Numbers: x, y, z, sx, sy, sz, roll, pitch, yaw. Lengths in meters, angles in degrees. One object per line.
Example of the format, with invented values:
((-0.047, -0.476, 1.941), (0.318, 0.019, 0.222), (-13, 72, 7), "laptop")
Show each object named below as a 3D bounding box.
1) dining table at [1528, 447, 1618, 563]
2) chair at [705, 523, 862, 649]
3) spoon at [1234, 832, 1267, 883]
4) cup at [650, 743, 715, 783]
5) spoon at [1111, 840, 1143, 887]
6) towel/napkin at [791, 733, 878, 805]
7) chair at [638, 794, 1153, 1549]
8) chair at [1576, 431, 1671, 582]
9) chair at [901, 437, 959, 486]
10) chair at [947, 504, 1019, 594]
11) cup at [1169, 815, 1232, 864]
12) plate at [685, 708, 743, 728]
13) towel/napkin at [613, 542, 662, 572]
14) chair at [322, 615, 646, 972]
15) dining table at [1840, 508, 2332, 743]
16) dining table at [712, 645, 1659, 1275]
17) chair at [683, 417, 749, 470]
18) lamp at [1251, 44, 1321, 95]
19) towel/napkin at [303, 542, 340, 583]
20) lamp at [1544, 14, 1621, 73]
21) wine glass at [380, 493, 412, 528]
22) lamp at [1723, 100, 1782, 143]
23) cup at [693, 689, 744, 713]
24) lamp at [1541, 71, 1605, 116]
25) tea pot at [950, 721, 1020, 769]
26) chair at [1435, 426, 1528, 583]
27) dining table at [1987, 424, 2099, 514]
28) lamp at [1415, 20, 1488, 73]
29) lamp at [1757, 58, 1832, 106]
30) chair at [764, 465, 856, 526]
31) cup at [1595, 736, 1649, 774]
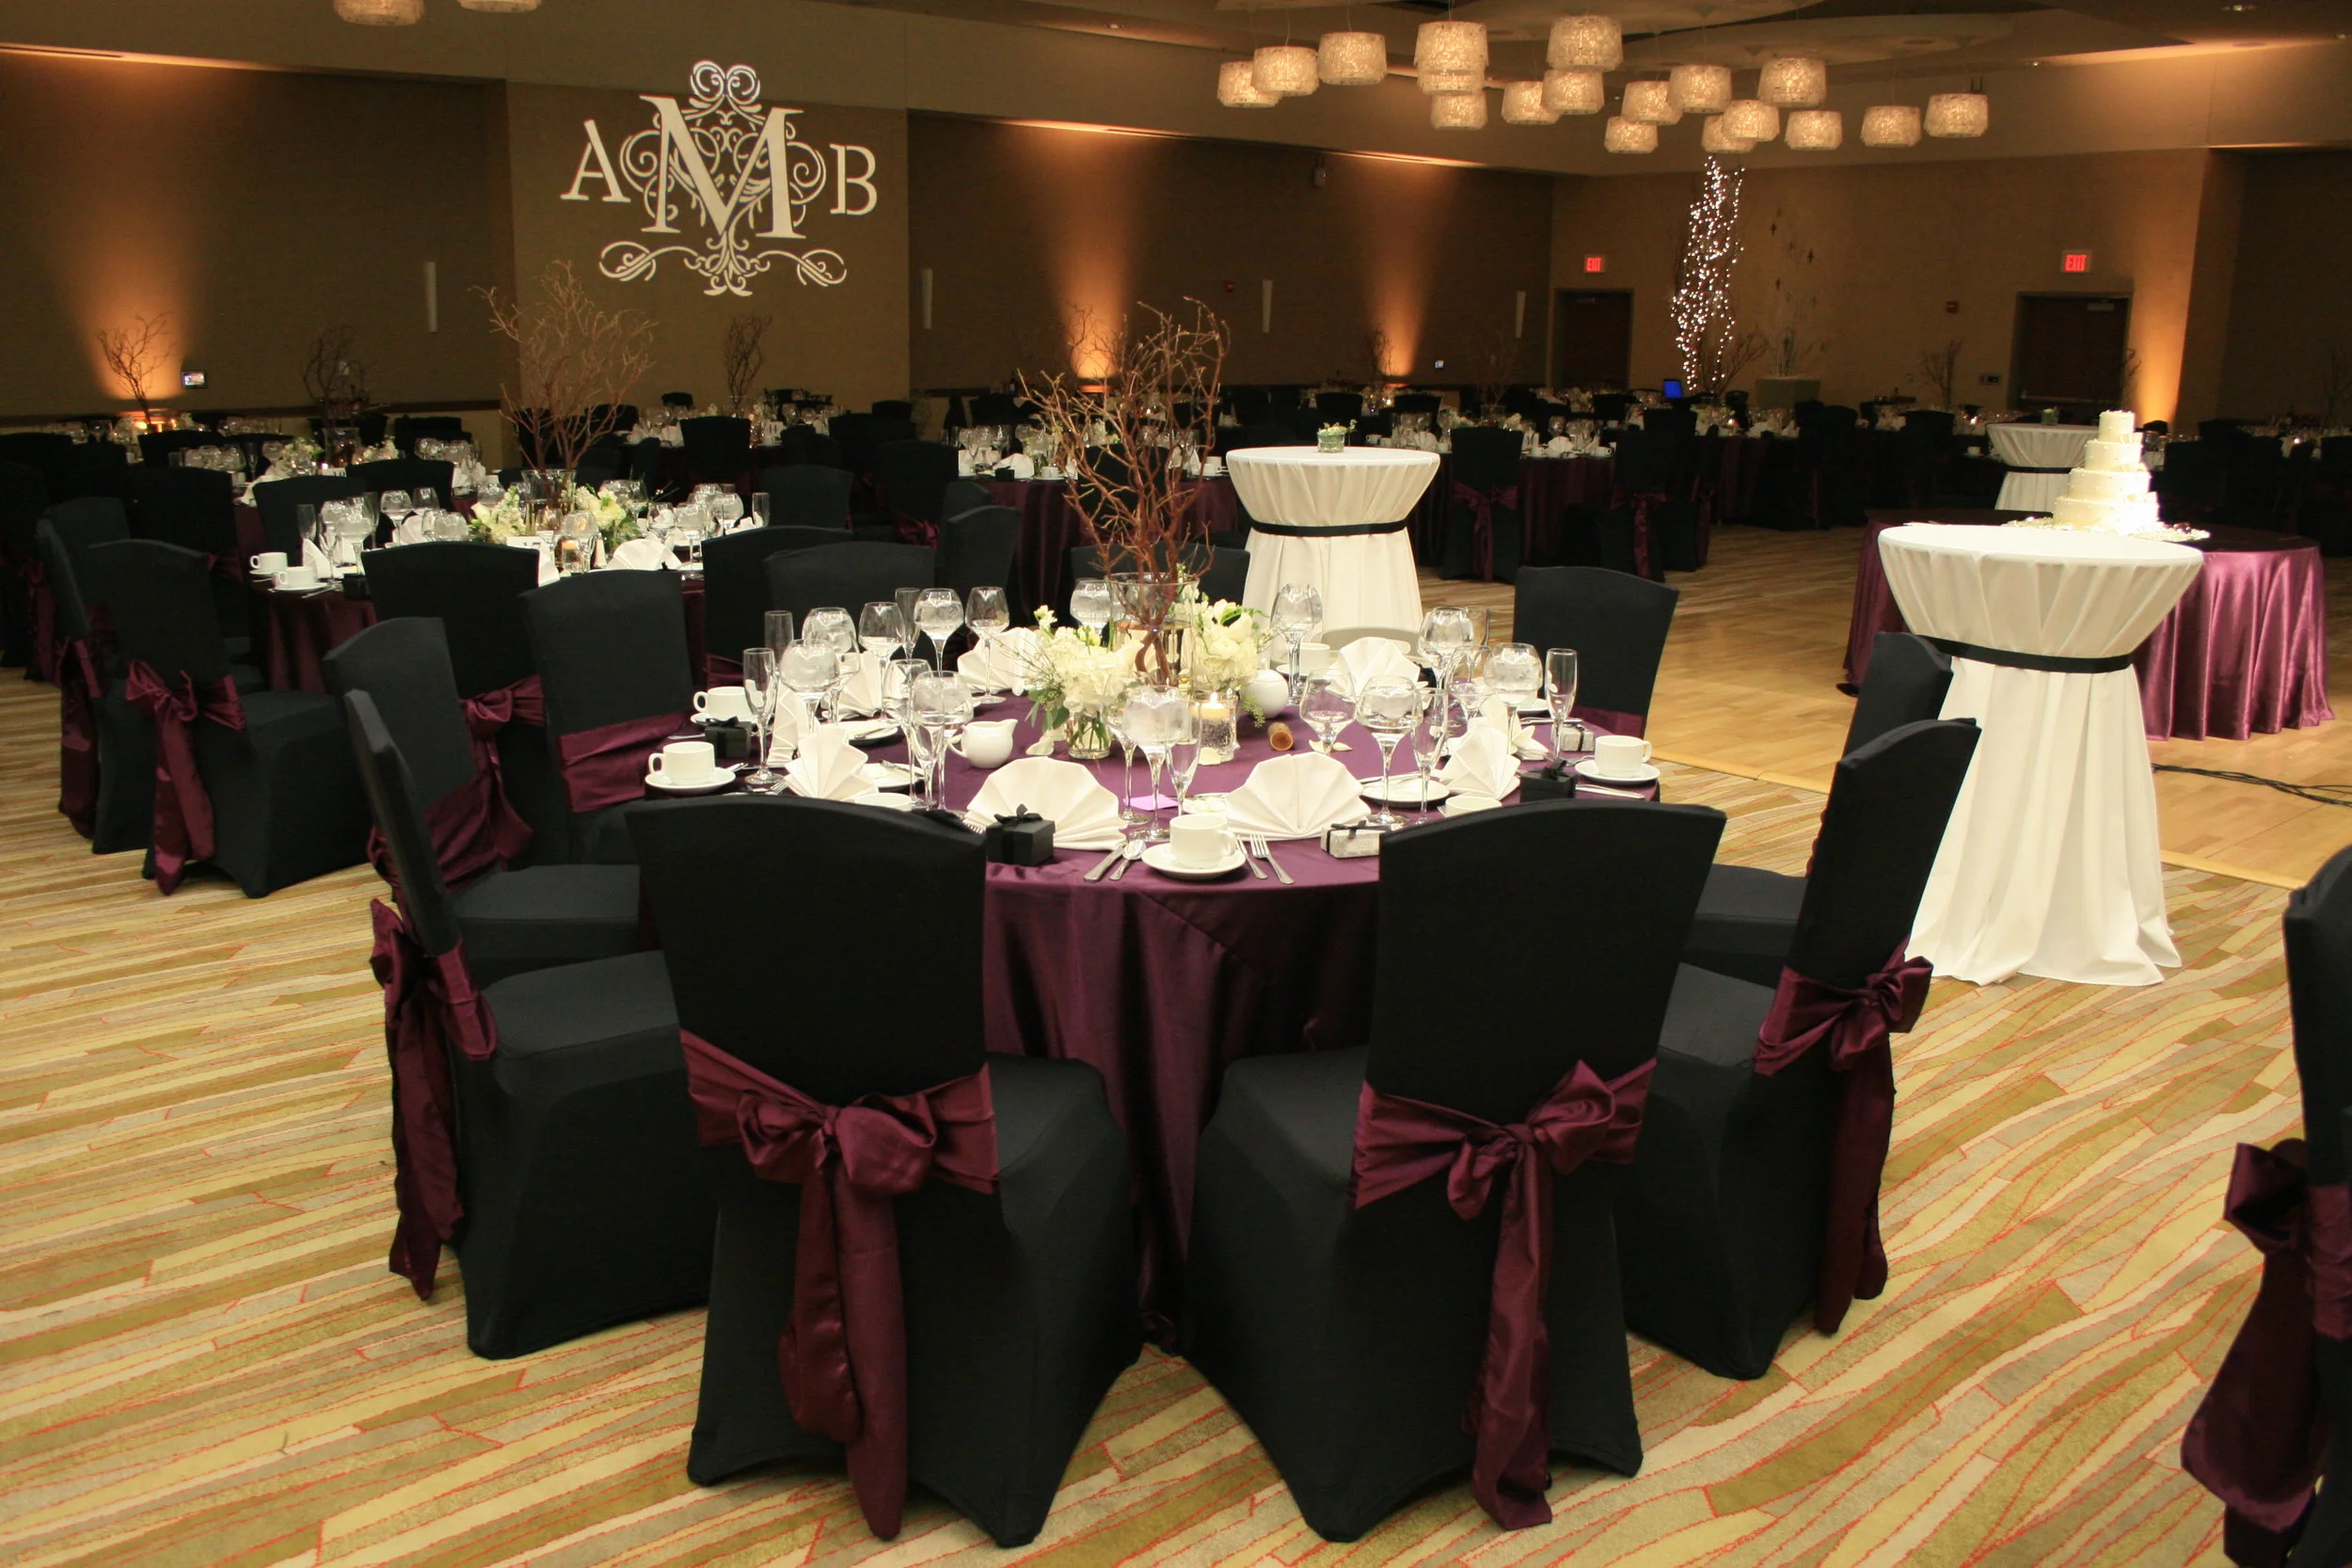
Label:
((2.925, -1.972, 11.534), (0.755, 0.801, 0.776), (-6, 18, -13), "dining table")
((-1.391, -0.734, 5.764), (0.489, 0.635, 0.451), (-1, 4, -43), "chair")
((0.170, 0.155, 3.334), (0.023, 0.021, 0.144), (12, 32, -15), "spoon")
((-1.209, -0.050, 3.861), (0.121, 0.064, 0.084), (0, 2, 39), "cup")
((-0.104, 0.169, 3.284), (0.031, 0.019, 0.123), (9, 27, 6), "spoon")
((-0.784, -0.056, 3.579), (0.155, 0.089, 0.207), (-1, 12, -19), "towel/napkin")
((-0.490, 0.690, 2.877), (0.898, 1.418, 0.421), (-8, 17, -21), "chair")
((3.252, -1.981, 11.372), (0.580, 1.022, 0.521), (1, 16, 10), "chair")
((-1.478, -1.924, 9.423), (0.280, 0.292, 0.286), (-9, 22, -28), "chair")
((-0.809, -0.965, 6.510), (0.229, 0.327, 0.584), (0, 16, 7), "chair")
((0.050, 0.123, 3.225), (0.108, 0.080, 0.073), (3, -1, -17), "cup")
((-1.233, -0.168, 4.191), (0.127, 0.067, 0.101), (0, 3, 24), "plate")
((-2.106, -0.897, 6.160), (0.209, 0.079, 0.278), (-8, 17, -18), "towel/napkin")
((-1.794, 0.006, 4.177), (0.636, 1.092, 0.622), (-6, 28, -11), "chair")
((3.561, -0.576, 6.024), (1.170, 0.466, 1.238), (-1, 6, 2), "dining table")
((0.019, 0.379, 3.078), (1.155, 1.106, 1.218), (1, 5, 7), "dining table")
((-3.034, -2.220, 10.394), (0.428, 0.354, 0.225), (-6, 16, -13), "chair")
((0.803, -5.171, 11.433), (0.472, 0.355, 0.677), (-1, 16, 4), "lamp")
((-3.310, -0.838, 6.087), (0.125, 0.179, 0.152), (12, -8, -25), "towel/napkin")
((2.880, -5.240, 11.175), (0.429, 0.349, 0.437), (-6, 12, -23), "lamp")
((-3.266, -1.146, 6.610), (0.102, 0.145, 0.357), (-9, 18, -24), "wine glass")
((4.871, -5.591, 13.343), (0.414, 0.310, 0.503), (2, 16, 14), "lamp")
((-1.240, -0.222, 4.271), (0.128, 0.074, 0.096), (-2, 9, -2), "cup")
((3.173, -5.523, 12.617), (0.435, 0.272, 0.452), (1, 16, 10), "lamp")
((-0.470, -0.104, 3.832), (0.123, 0.100, 0.101), (-7, 11, 2), "tea pot")
((2.257, -2.043, 11.578), (0.565, 1.076, 0.411), (2, 16, 13), "chair")
((5.540, -2.021, 10.146), (0.467, 0.531, 1.516), (6, 18, 28), "dining table")
((1.917, -5.143, 11.184), (0.386, 0.272, 0.404), (-4, 19, -12), "lamp")
((4.830, -5.471, 12.344), (0.477, 0.385, 0.494), (10, 20, 35), "lamp")
((-1.778, -1.376, 7.581), (0.407, 0.263, 0.264), (-7, 16, -15), "chair")
((1.087, -0.068, 3.893), (0.084, 0.062, 0.114), (-1, 5, -2), "cup")
